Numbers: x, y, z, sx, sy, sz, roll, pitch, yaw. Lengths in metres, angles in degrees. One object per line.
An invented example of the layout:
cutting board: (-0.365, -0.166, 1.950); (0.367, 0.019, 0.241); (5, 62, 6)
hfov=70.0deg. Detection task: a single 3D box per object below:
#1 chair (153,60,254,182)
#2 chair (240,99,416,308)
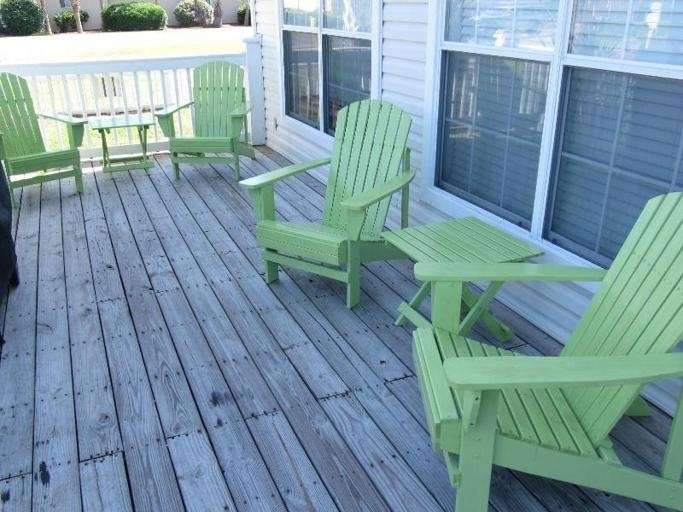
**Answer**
chair: (-1.467, -1.513, 5.401); (1.118, 1.114, 1.154); (-20, 35, -39)
chair: (-0.016, -0.384, 3.428); (0.932, 1.163, 1.099); (11, 24, 25)
